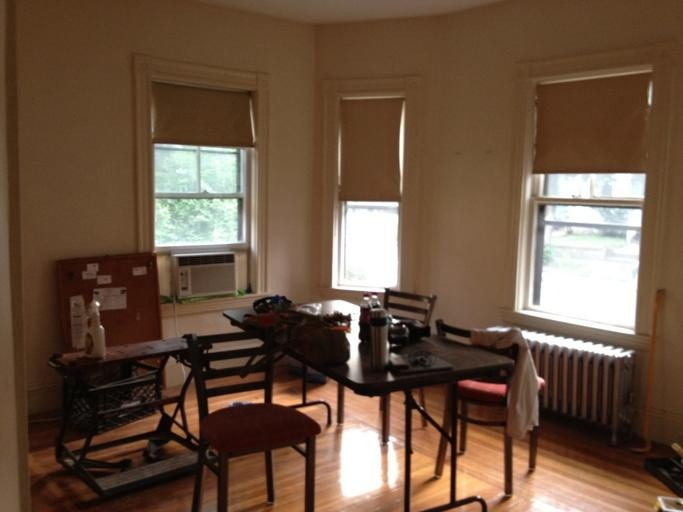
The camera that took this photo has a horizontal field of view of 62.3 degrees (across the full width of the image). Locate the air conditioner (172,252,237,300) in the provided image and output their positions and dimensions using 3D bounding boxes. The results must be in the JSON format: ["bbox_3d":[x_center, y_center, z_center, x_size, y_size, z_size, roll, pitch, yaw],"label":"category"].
[{"bbox_3d":[-1.310,0.166,5.476,0.545,0.403,0.197,-4,14,-23],"label":"air conditioner"}]

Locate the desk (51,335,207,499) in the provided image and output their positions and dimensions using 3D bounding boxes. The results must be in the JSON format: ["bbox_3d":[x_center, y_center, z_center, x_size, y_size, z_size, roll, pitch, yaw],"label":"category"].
[{"bbox_3d":[-1.480,1.140,3.903,1.028,0.765,0.622,-4,6,-42],"label":"desk"}]

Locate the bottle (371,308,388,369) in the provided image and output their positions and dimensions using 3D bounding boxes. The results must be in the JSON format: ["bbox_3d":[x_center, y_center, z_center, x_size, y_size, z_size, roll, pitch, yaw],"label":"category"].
[{"bbox_3d":[0.213,0.451,3.113,0.123,0.314,0.110,-3,5,-16],"label":"bottle"}]

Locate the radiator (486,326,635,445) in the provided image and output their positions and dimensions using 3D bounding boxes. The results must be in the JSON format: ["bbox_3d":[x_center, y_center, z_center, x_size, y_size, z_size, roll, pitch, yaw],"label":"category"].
[{"bbox_3d":[1.914,1.060,4.613,0.221,0.600,0.932,-1,3,-29],"label":"radiator"}]

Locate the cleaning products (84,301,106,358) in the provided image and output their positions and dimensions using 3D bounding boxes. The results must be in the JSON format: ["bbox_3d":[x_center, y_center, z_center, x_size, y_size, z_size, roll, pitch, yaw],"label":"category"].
[{"bbox_3d":[-1.609,0.480,3.690,0.116,0.349,0.198,-5,6,-41],"label":"cleaning products"}]
